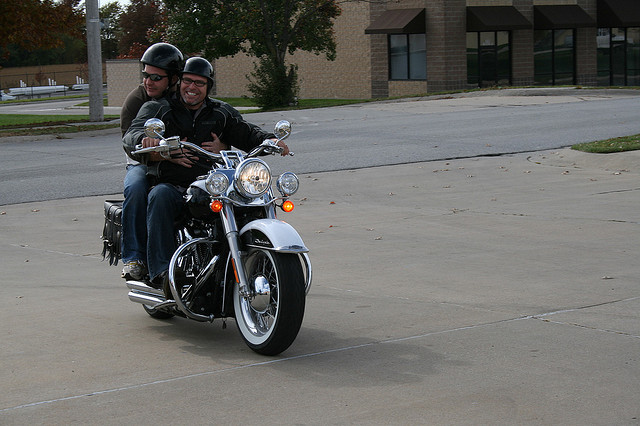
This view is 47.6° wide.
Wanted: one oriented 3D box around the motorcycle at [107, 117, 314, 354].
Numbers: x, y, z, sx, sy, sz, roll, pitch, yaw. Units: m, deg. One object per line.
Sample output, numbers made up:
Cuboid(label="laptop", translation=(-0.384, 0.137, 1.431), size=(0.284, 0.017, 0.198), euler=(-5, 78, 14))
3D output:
Cuboid(label="motorcycle", translation=(-0.914, 0.165, 6.253), size=(1.574, 1.923, 1.507), euler=(-2, 8, -8))
